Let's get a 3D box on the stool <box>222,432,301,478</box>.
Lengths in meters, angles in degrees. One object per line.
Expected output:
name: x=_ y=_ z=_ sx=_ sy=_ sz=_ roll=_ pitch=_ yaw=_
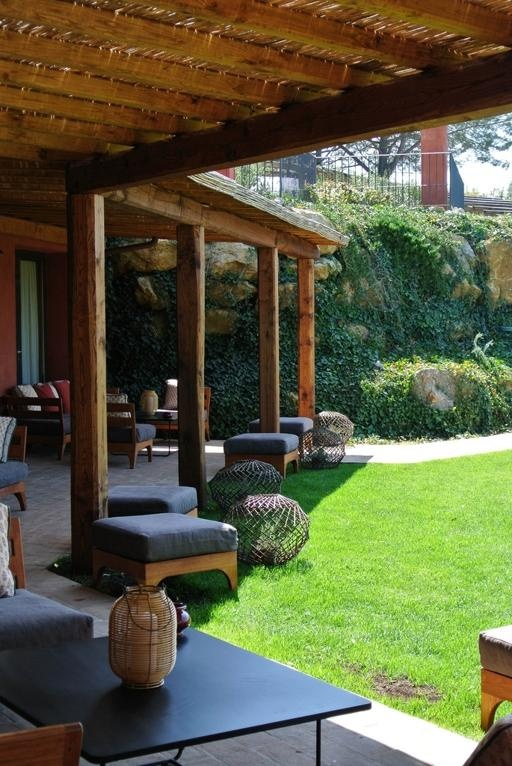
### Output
stool: x=0.101 y=0.852 z=8.771 sx=0.647 sy=0.409 sz=0.624 roll=0 pitch=-3 yaw=8

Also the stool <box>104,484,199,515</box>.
stool: x=-0.818 y=0.920 z=5.316 sx=0.609 sy=0.204 sz=0.602 roll=-1 pitch=0 yaw=10

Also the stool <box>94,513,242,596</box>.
stool: x=-0.564 y=1.107 z=4.564 sx=0.767 sy=0.433 sz=0.705 roll=-1 pitch=0 yaw=-40

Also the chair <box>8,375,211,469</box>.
chair: x=-2.244 y=0.590 z=10.699 sx=2.195 sy=1.110 sz=3.269 roll=-1 pitch=0 yaw=28
